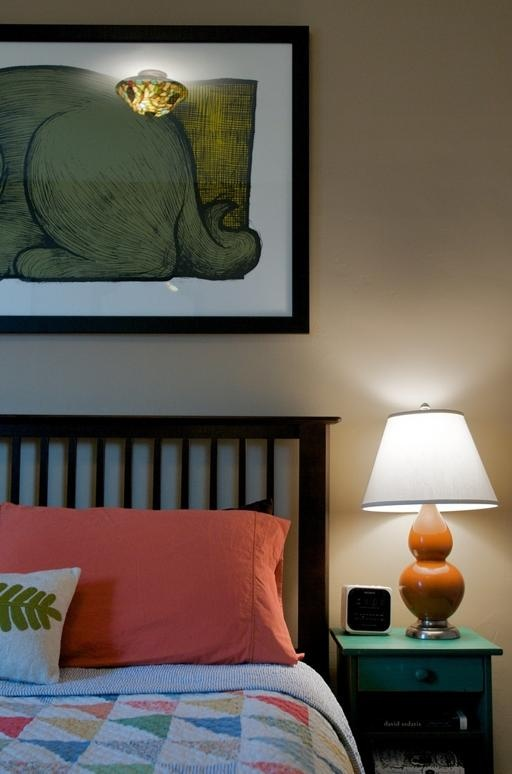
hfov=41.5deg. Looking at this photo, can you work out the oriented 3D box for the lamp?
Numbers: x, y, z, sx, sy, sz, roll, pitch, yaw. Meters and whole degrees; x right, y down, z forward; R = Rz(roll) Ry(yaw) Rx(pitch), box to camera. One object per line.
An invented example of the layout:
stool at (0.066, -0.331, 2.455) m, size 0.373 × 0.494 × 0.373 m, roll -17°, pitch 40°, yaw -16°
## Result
lamp at (0.431, 0.327, 1.690) m, size 0.327 × 0.550 × 0.287 m, roll 0°, pitch -5°, yaw 11°
